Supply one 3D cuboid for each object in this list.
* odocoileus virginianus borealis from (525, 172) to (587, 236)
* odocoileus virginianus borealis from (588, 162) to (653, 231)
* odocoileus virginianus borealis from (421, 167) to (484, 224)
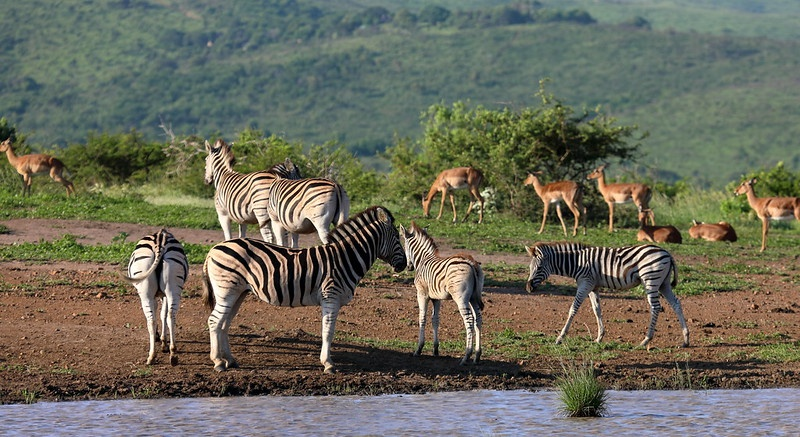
[{"bbox_3d":[20.840,-1.883,168.164,7.227,7.920,5.105,1,2,8],"label":"odocoileus virginianus borealis"},{"bbox_3d":[29.089,-2.810,168.753,8.327,8.158,2.369,2,5,26],"label":"odocoileus virginianus borealis"},{"bbox_3d":[7.064,-2.816,169.993,8.866,7.375,2.622,-6,-10,21],"label":"odocoileus virginianus borealis"}]
